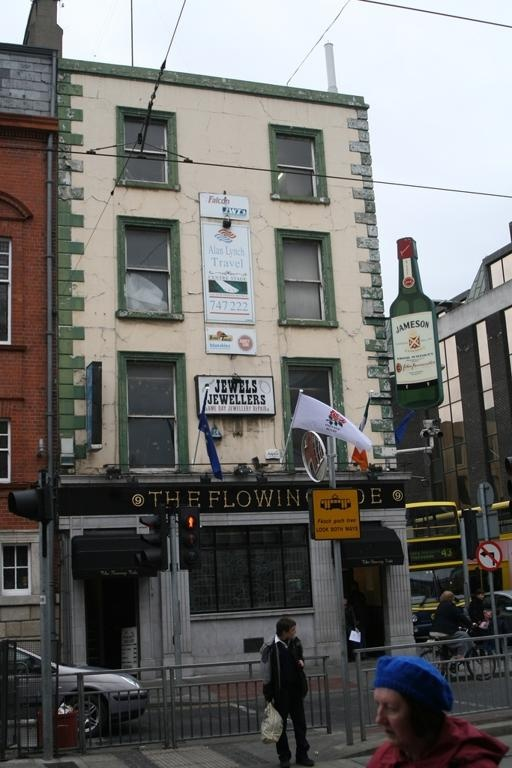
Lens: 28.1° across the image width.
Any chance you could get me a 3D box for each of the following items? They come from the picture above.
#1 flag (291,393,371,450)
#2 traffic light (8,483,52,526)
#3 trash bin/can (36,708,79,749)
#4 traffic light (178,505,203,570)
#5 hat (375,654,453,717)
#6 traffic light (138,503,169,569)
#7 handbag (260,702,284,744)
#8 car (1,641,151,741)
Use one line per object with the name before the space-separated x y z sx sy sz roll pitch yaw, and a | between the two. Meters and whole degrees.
flag | 1.067 0.644 14.833 1.250 0.709 0.221 -4 -10 35
traffic light | -2.622 1.383 11.658 0.503 0.479 0.380 2 -3 -28
trash bin/can | -2.248 3.914 11.602 0.408 0.684 0.526 -2 -17 -6
traffic light | -1.019 2.333 15.525 0.322 0.873 0.665 -3 -15 -5
hat | 0.530 0.992 3.424 0.237 0.082 0.177 18 -17 6
traffic light | -1.494 2.246 14.954 0.412 0.942 0.811 -3 -15 -5
handbag | 0.176 3.437 10.382 0.204 0.375 0.315 -14 -18 30
car | -2.069 3.684 12.283 1.992 0.774 0.909 -1 -6 -7
